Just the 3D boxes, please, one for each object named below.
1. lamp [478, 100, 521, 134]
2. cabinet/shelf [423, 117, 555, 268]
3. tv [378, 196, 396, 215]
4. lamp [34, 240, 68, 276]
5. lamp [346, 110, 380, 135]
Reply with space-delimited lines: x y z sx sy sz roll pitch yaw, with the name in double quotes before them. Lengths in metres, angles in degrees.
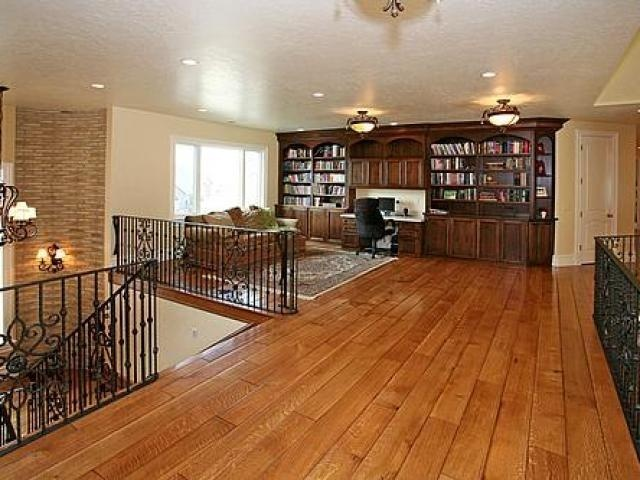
"lamp" 2.856 -1.947 7.376 0.618 0.433 0.582 -1 5 -3
"cabinet/shelf" 3.423 -0.921 9.302 3.156 3.083 0.931 1 1 29
"tv" 1.501 -0.763 10.558 0.507 0.449 0.278 -3 -6 37
"lamp" -4.645 0.322 8.169 0.470 0.528 0.204 -6 12 -28
"lamp" 0.710 -2.057 8.275 0.541 0.356 0.514 -1 2 -35
